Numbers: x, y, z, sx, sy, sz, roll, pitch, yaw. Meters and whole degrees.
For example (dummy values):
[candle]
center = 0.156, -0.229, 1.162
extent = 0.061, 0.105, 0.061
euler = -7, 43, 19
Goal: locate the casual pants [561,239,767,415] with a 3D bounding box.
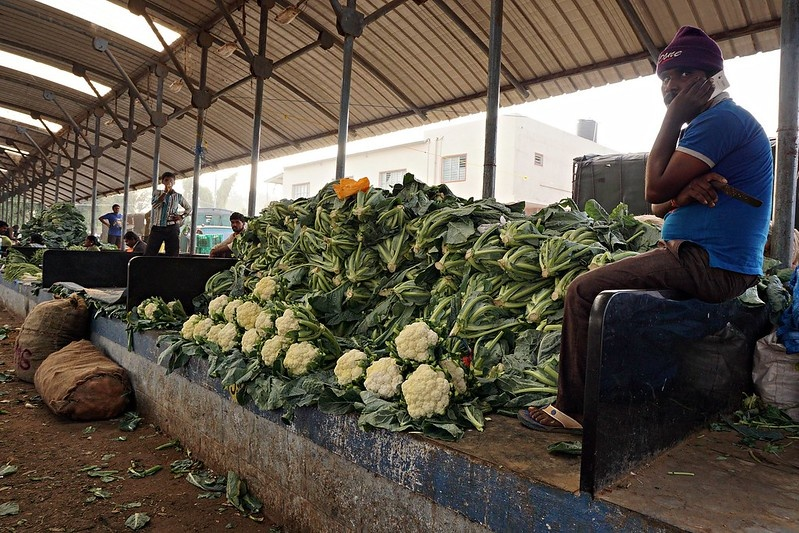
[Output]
[casual pants]
center = 1.560, 0.381, 3.296
extent = 1.144, 1.081, 0.354
euler = -3, 12, -20

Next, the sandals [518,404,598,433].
[sandals]
center = 0.960, 0.955, 3.268
extent = 0.318, 0.093, 0.166
euler = 9, 18, 20

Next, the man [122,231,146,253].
[man]
center = -7.798, -0.717, 14.966
extent = 0.595, 0.813, 0.942
euler = -7, 13, -28

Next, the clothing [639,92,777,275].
[clothing]
center = 1.961, -0.493, 3.247
extent = 0.693, 1.239, 1.084
euler = -1, -8, 17

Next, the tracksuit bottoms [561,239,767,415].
[tracksuit bottoms]
center = 1.561, 0.381, 3.297
extent = 1.146, 1.081, 0.354
euler = -3, 12, -20

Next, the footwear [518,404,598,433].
[footwear]
center = 0.962, 0.952, 3.269
extent = 0.318, 0.093, 0.166
euler = 9, 18, 20

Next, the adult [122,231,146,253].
[adult]
center = -7.798, -0.717, 14.966
extent = 0.595, 0.813, 0.942
euler = -7, 13, -28
